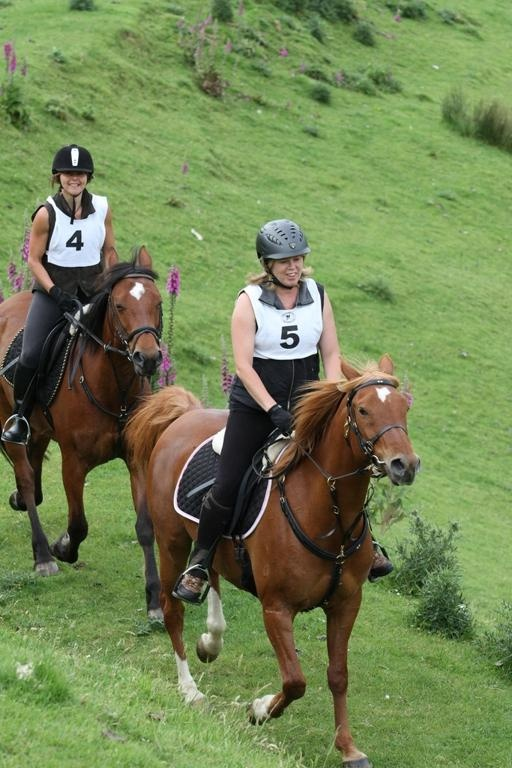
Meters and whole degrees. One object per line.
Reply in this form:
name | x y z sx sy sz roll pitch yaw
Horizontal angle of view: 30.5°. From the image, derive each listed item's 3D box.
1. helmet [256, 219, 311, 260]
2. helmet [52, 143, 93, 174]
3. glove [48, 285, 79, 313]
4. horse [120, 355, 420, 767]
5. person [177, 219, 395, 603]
helmet | 0.154 -0.869 5.603 0.246 0.221 0.305 -6 27 -12
helmet | -1.498 -1.832 7.742 0.320 0.270 0.245 9 15 -15
glove | -1.597 -0.701 7.803 0.263 0.092 0.192 39 3 -15
horse | 0.061 0.939 5.912 0.792 2.622 2.372 6 16 -31
person | 0.150 0.201 5.679 1.509 2.239 0.898 -4 7 -8
